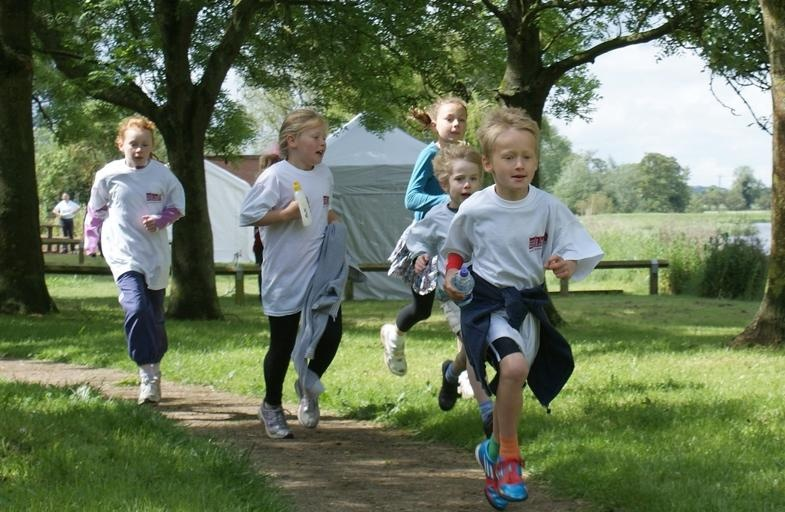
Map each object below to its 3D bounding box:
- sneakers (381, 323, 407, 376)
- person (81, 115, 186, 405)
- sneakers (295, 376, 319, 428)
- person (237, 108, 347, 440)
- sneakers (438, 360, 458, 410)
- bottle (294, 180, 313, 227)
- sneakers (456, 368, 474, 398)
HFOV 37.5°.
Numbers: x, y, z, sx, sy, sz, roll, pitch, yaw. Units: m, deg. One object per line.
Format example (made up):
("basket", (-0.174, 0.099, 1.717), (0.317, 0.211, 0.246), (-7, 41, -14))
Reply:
("sneakers", (0.004, 1.108, 13.766), (0.277, 0.607, 0.302), (-21, 10, -28))
("person", (-2.965, 0.061, 13.378), (1.084, 3.261, 0.479), (0, 3, -9))
("sneakers", (-0.923, 1.568, 12.707), (0.273, 0.566, 0.288), (-8, 4, -19))
("person", (-1.142, 0.173, 12.654), (1.012, 3.563, 0.503), (0, 3, -2))
("sneakers", (0.606, 1.431, 12.881), (0.238, 0.528, 0.273), (-1, 17, -11))
("bottle", (-0.975, -0.568, 12.511), (0.191, 0.491, 0.223), (0, 3, -3))
("sneakers", (0.851, 1.485, 13.526), (0.295, 0.327, 0.148), (-2, -6, 11))
